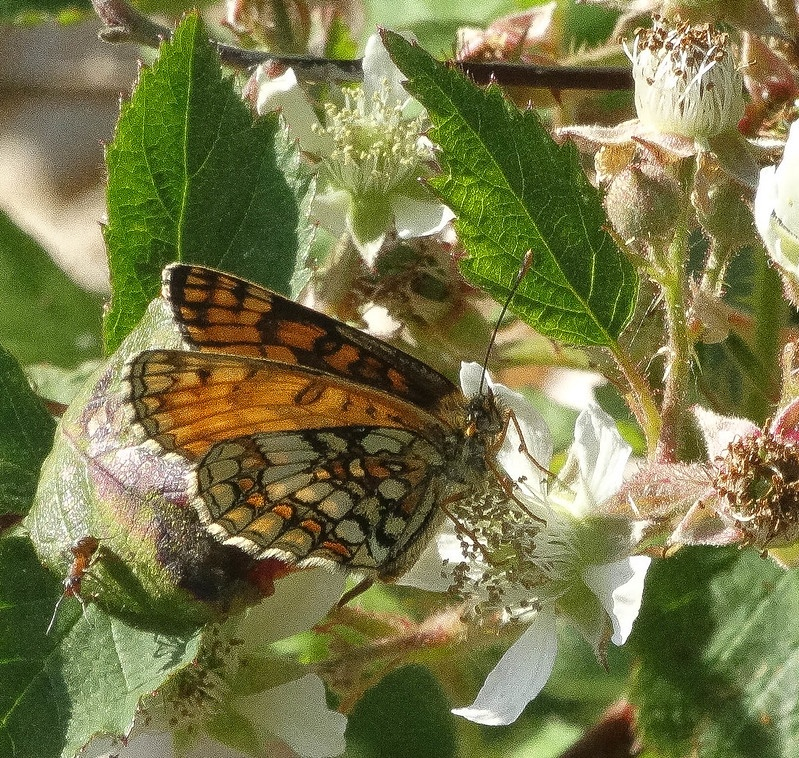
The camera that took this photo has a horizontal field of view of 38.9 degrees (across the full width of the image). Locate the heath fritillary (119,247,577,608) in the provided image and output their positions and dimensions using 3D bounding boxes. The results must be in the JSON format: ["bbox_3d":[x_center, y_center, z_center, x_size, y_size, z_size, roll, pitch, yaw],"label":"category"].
[{"bbox_3d":[-0.015,0.032,0.705,0.211,0.186,0.286,-7,2,9],"label":"heath fritillary"}]
